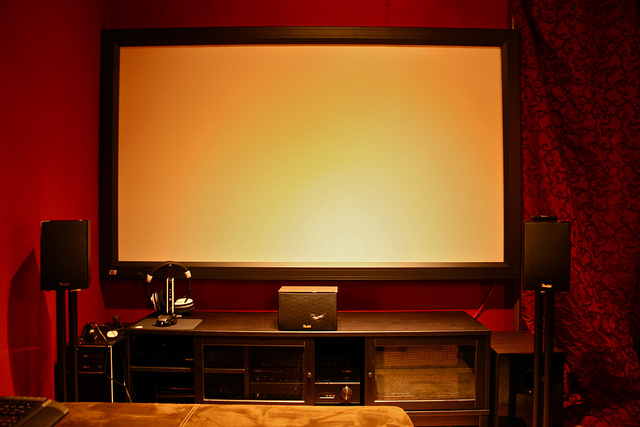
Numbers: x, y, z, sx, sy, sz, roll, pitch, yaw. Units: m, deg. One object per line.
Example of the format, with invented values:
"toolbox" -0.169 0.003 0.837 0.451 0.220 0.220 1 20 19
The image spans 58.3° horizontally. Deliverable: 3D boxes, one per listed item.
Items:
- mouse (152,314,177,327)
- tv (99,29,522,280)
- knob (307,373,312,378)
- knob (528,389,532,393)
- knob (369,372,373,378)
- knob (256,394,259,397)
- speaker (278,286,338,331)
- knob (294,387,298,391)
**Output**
"mouse" -1.172 0.815 4.371 0.173 0.117 0.088 9 -32 -16
"tv" -0.101 -0.483 4.662 3.398 1.961 0.082 0 1 2
"knob" -0.078 1.214 4.323 0.033 0.029 0.016 0 -31 -1
"knob" 1.556 1.316 4.274 0.032 0.021 0.018 0 6 6
"knob" 0.380 1.209 4.313 0.030 0.034 0.025 3 -14 -6
"knob" -0.474 1.382 4.370 0.018 0.018 0.009 0 -31 -1
"speaker" -0.089 0.708 4.507 0.443 0.301 0.316 2 3 0
"knob" -0.181 1.322 4.331 0.027 0.018 0.026 0 1 0
